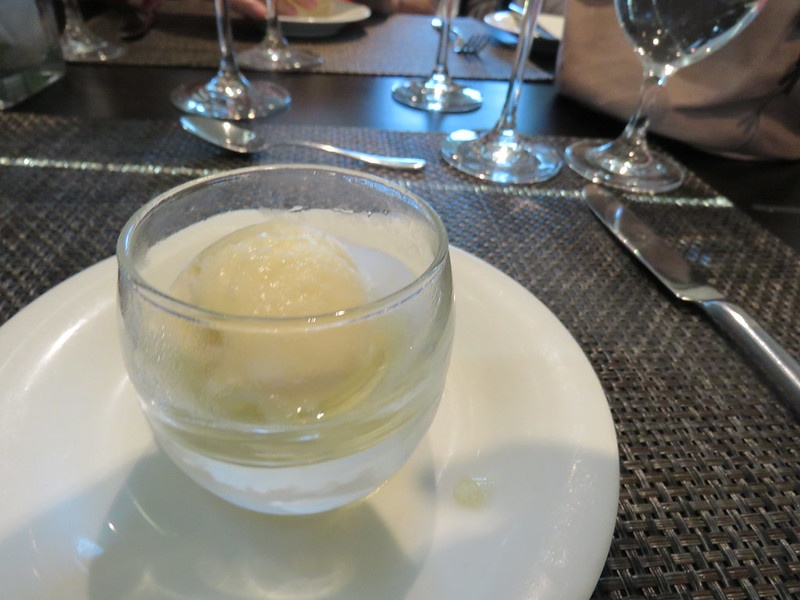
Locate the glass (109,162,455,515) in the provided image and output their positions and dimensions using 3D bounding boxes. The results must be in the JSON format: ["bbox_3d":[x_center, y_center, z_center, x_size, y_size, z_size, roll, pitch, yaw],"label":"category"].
[{"bbox_3d":[-0.072,0.004,0.511,0.225,0.196,0.248,-2,38,-4],"label":"glass"}]
